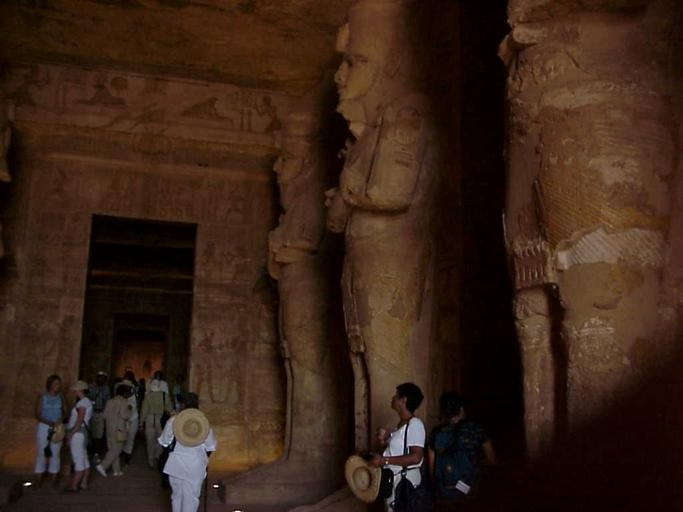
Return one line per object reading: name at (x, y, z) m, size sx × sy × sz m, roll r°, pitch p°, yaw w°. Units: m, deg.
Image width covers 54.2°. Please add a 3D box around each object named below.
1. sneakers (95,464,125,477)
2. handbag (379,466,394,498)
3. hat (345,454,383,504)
sneakers at (-3.163, 2.952, 9.188) m, size 0.455 × 0.190 × 0.149 m, roll 18°, pitch -1°, yaw -39°
handbag at (0.320, 1.693, 5.004) m, size 0.177 × 0.170 × 0.043 m, roll 10°, pitch -3°, yaw -24°
hat at (0.172, 1.691, 5.105) m, size 0.120 × 0.323 × 0.387 m, roll 9°, pitch -16°, yaw -32°
